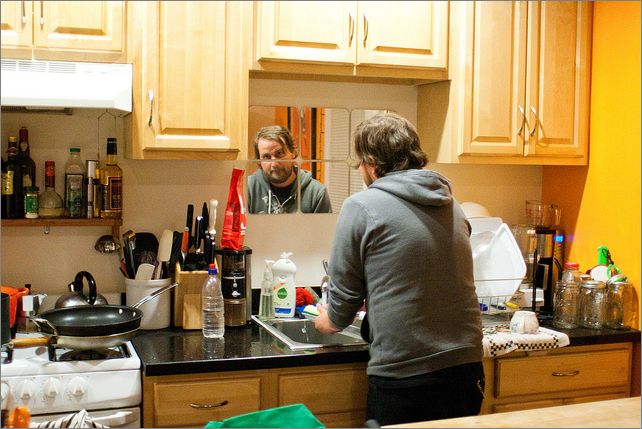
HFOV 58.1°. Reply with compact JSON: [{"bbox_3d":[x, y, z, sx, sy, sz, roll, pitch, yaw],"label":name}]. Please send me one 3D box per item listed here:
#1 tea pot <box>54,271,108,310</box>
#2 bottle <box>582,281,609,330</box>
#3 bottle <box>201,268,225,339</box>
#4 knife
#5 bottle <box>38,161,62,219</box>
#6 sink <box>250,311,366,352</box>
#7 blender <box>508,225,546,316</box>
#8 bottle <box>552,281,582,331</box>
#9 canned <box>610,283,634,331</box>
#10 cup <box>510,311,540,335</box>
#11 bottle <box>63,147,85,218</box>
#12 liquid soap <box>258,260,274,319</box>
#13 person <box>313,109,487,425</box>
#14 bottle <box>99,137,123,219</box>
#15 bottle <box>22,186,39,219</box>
[{"bbox_3d":[-1.149,0.352,2.816,0.185,0.195,0.239,-3,7,-42],"label":"tea pot"},{"bbox_3d":[1.427,0.470,3.030,0.122,0.241,0.070,0,2,23],"label":"bottle"},{"bbox_3d":[-0.524,0.407,2.784,0.108,0.350,0.134,-1,2,-10],"label":"bottle"},{"bbox_3d":[-0.624,0.101,2.911,0.192,0.347,0.434,-1,2,-10],"label":"knife"},{"bbox_3d":[-1.362,-0.127,2.896,0.109,0.283,0.078,-2,2,-21],"label":"bottle"},{"bbox_3d":[-0.067,0.563,2.766,0.232,0.100,0.264,-3,9,-22],"label":"sink"},{"bbox_3d":[1.184,0.306,3.277,0.207,0.472,0.457,0,2,19],"label":"blender"},{"bbox_3d":[1.283,0.471,3.017,0.129,0.234,0.115,0,2,20],"label":"bottle"},{"bbox_3d":[1.570,0.473,3.029,0.132,0.238,0.066,0,2,12],"label":"canned"},{"bbox_3d":[0.997,0.533,2.830,0.120,0.083,0.112,-2,7,0],"label":"cup"},{"bbox_3d":[-1.262,-0.155,2.939,0.105,0.327,0.079,-1,2,-18],"label":"bottle"},{"bbox_3d":[-0.290,0.393,3.031,0.080,0.303,0.112,-1,2,-6],"label":"liquid soap"},{"bbox_3d":[0.321,0.217,2.413,0.683,1.288,0.280,0,2,14],"label":"person"},{"bbox_3d":[-1.072,-0.187,2.942,0.109,0.402,0.138,-1,2,-18],"label":"bottle"},{"bbox_3d":[-1.430,-0.060,2.841,0.066,0.154,0.052,-2,2,-26],"label":"bottle"}]
